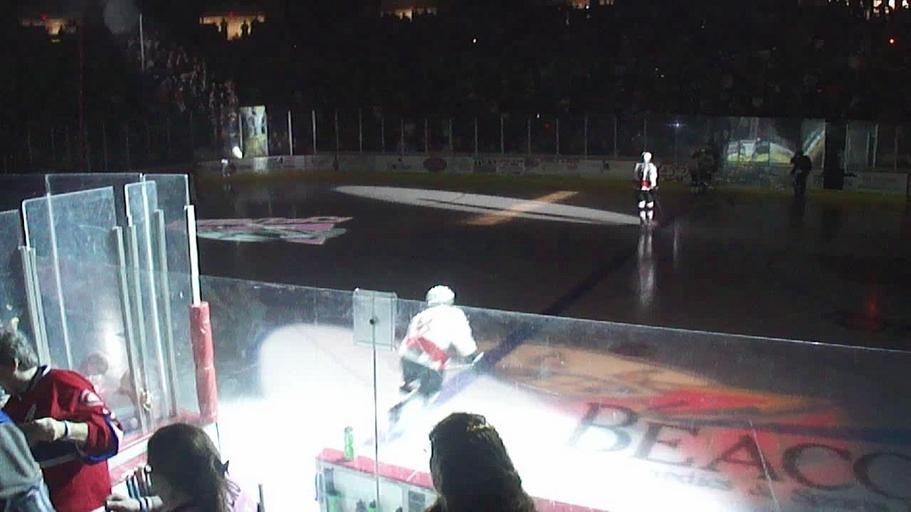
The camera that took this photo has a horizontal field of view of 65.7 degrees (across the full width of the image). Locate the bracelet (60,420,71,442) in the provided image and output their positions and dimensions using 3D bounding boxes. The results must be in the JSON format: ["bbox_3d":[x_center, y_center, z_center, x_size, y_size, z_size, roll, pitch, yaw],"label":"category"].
[{"bbox_3d":[-5.869,2.648,10.684,0.080,0.218,0.173,-12,22,-32],"label":"bracelet"}]

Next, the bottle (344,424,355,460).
[{"bbox_3d":[-1.842,3.231,12.251,0.184,0.507,0.328,-2,10,-10],"label":"bottle"}]
